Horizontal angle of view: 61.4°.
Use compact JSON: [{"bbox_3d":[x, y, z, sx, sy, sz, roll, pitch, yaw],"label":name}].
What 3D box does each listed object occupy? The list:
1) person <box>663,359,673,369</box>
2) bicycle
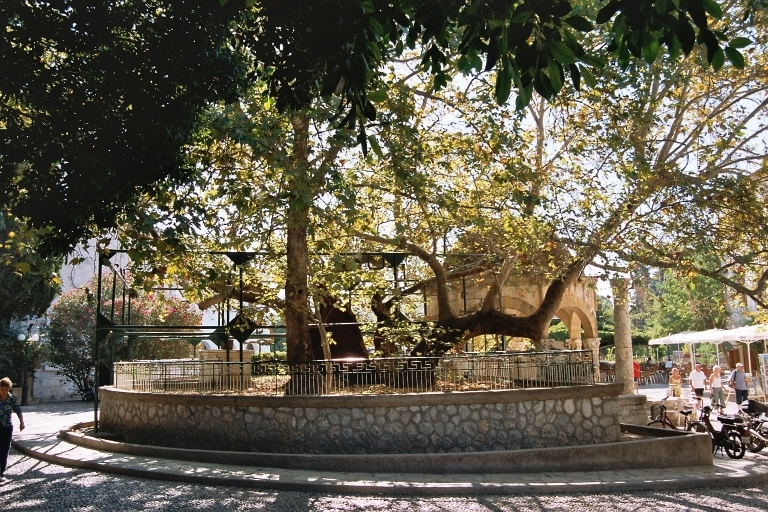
[{"bbox_3d":[19.196,7.323,43.715,0.782,0.527,0.749,4,-5,-32],"label":"person"},{"bbox_3d":[8.607,4.853,19.107,1.939,1.208,1.026,-2,-11,-1],"label":"bicycle"}]
